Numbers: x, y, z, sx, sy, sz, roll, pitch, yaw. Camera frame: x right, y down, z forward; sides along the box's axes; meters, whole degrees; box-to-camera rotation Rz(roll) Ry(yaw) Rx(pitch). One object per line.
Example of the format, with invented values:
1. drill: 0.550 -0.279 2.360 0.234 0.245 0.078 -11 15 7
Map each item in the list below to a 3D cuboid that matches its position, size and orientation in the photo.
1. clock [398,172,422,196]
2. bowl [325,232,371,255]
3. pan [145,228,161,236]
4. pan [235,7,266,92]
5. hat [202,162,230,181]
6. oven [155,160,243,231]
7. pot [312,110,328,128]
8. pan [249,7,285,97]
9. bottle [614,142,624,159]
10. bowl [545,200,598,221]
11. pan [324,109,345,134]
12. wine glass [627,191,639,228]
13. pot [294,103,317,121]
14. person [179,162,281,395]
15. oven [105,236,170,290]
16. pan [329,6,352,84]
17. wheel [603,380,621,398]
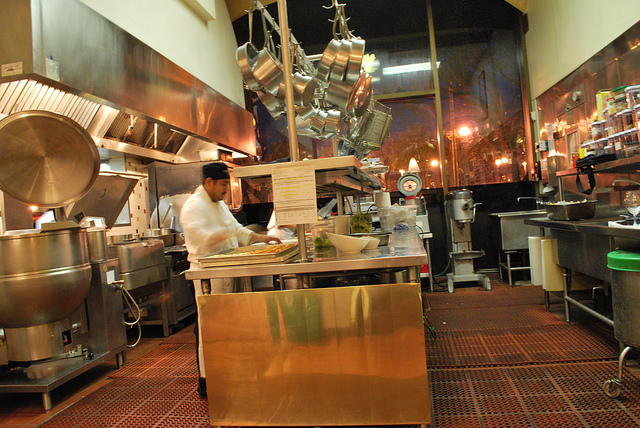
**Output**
1. clock: 1.156 -0.391 5.876 0.264 0.269 0.162 -4 -1 15
2. bowl: 0.218 0.208 3.324 0.313 0.136 0.166 -4 -1 0
3. pan: -1.996 0.216 5.552 0.113 0.053 0.112 0 5 -4
4. pan: -0.579 -1.266 3.566 0.107 0.540 0.292 2 2 11
5. hat: -0.949 -0.392 4.247 0.200 0.148 0.150 0 -2 -7
6. oven: -1.595 -0.276 6.748 0.871 1.124 1.601 -3 9 9
7. pot: 0.022 -0.762 3.697 0.110 0.124 0.120 24 17 -8
8. pan: -0.414 -1.201 3.510 0.209 0.624 0.282 -13 -12 17
9. bottle: 3.055 -0.647 4.682 0.053 0.191 0.118 -4 -1 24
10. bowl: 2.459 -0.035 4.598 0.224 0.116 0.334 0 -4 -4
11. pan: 0.114 -0.736 3.620 0.102 0.178 0.190 13 5 21
12. wine glass: 2.599 -0.050 3.787 0.088 0.330 0.253 -4 -1 30
13. pot: -0.113 -0.826 3.784 0.156 0.105 0.115 0 6 2
14. person: -0.847 0.522 4.114 0.715 1.459 1.262 -3 -1 -17
15. oven: -2.092 0.536 5.136 0.415 0.483 0.737 -1 1 10
16. pan: 0.158 -1.308 3.597 0.182 0.504 0.286 -4 -1 2
17. wheel: 2.236 1.333 3.495 0.036 0.108 0.096 -4 45 -36
